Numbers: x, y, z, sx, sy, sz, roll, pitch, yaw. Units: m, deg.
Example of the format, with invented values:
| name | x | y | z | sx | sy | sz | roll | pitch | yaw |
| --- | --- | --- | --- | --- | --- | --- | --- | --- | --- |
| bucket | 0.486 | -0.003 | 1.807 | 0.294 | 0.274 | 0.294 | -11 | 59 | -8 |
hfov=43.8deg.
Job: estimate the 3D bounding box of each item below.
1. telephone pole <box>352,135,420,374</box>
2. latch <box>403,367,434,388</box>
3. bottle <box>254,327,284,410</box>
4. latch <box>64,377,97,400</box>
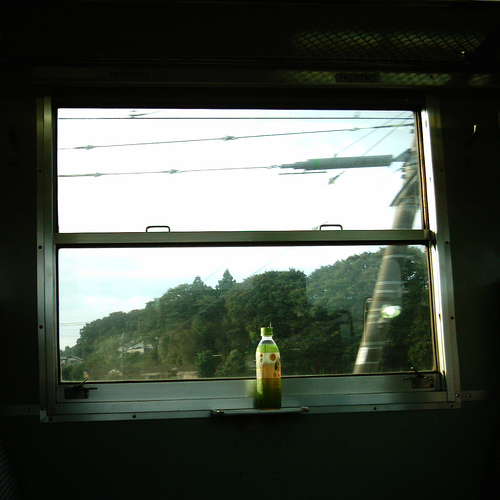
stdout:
| name | x | y | z | sx | sy | sz | roll | pitch | yaw |
| --- | --- | --- | --- | --- | --- | --- | --- | --- | --- |
| telephone pole | 0.483 | 0.012 | 2.200 | 0.270 | 0.826 | 0.063 | 0 | -4 | -23 |
| latch | 0.597 | 0.450 | 2.190 | 0.096 | 0.063 | 0.050 | 0 | -11 | -7 |
| bottle | 0.064 | 0.394 | 2.088 | 0.101 | 0.266 | 0.111 | -2 | -4 | 1 |
| latch | -0.568 | 0.470 | 2.056 | 0.072 | 0.048 | 0.037 | 2 | -14 | -4 |
